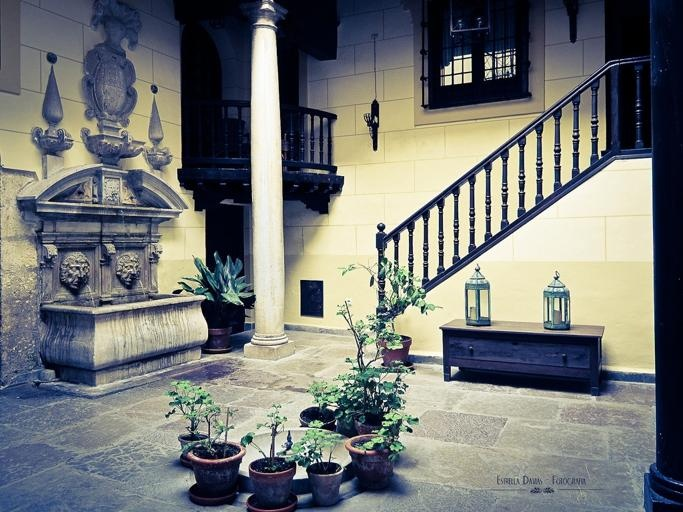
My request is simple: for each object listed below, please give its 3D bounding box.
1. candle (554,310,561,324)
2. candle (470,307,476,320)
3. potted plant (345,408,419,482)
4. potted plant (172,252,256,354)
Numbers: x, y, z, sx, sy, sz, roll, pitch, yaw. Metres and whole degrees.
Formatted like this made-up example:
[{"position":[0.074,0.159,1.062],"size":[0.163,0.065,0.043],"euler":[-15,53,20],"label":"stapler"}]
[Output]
[{"position":[2.348,0.684,6.964],"size":[0.094,0.148,0.062],"euler":[4,11,21],"label":"candle"},{"position":[1.509,0.678,7.361],"size":[0.051,0.138,0.120],"euler":[-1,11,-3],"label":"candle"},{"position":[0.298,1.566,5.189],"size":[0.593,0.557,0.466],"euler":[0,-1,-28],"label":"potted plant"},{"position":[-1.592,0.706,9.064],"size":[1.331,1.462,1.228],"euler":[4,-6,-42],"label":"potted plant"}]
